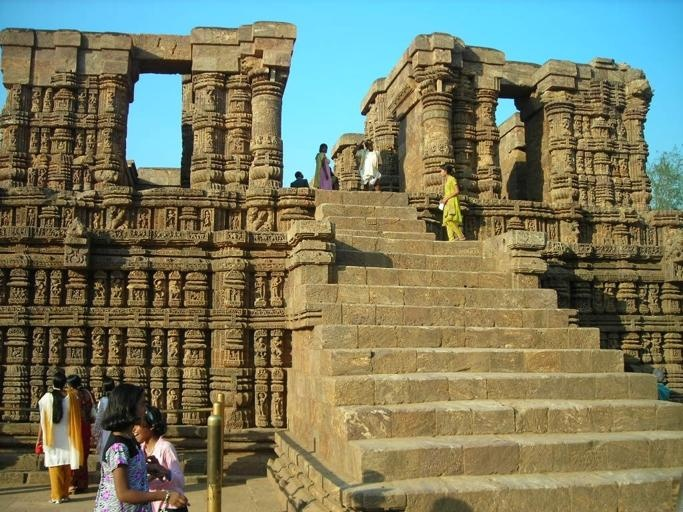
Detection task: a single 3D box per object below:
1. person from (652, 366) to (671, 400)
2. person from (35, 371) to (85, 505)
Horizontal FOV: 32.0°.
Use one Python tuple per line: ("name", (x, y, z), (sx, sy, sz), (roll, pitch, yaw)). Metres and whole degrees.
("person", (5.784, 2.327, 21.640), (0.247, 0.786, 0.597), (-15, 1, 17))
("person", (-4.517, 2.957, 19.335), (0.535, 2.110, 0.520), (-3, -8, 19))
